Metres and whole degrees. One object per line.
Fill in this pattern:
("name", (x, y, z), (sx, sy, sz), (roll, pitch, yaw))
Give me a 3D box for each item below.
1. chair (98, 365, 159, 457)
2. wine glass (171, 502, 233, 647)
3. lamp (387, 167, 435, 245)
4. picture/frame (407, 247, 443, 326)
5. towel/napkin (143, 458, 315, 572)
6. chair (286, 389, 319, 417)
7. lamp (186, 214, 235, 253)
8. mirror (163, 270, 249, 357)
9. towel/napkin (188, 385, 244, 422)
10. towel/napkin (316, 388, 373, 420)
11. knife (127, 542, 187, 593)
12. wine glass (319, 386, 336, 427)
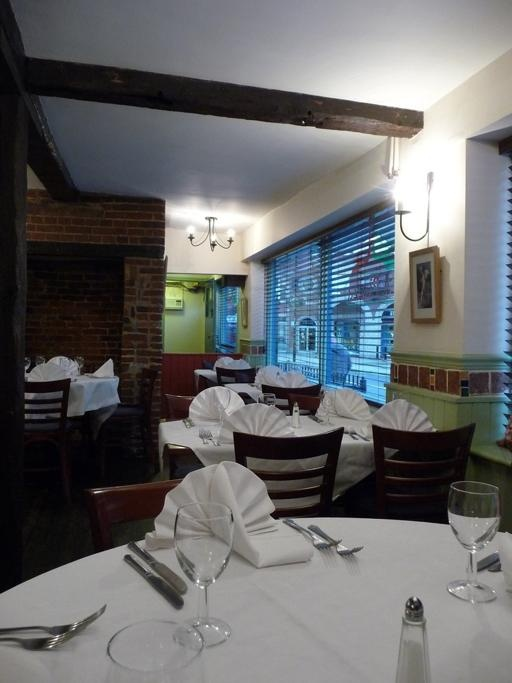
("chair", (-1.231, 0.682, 4.623), (0.557, 0.844, 0.605), (2, -2, 0))
("wine glass", (-0.077, 0.330, 0.715), (0.090, 0.223, 0.096), (0, 7, -6))
("lamp", (0.908, -0.812, 2.963), (0.200, 0.465, 0.430), (0, 1, 0))
("picture/frame", (0.979, -0.317, 2.833), (0.037, 0.432, 0.303), (0, 1, -14))
("towel/napkin", (-0.041, 0.287, 0.973), (0.200, 0.084, 0.228), (-1, 9, -27))
("chair", (0.311, 0.405, 3.263), (0.163, 0.246, 0.166), (2, 4, 5))
("lamp", (-0.630, -1.399, 6.625), (0.468, 0.347, 0.524), (0, 2, 15))
("mirror", (-1.103, -0.488, 8.918), (1.014, 1.541, 4.008), (0, 1, -13))
("towel/napkin", (-0.234, 0.342, 2.592), (0.195, 0.074, 0.213), (-12, 34, 5))
("towel/napkin", (0.526, 0.409, 2.829), (0.190, 0.230, 0.071), (2, -10, 37))
("knife", (-0.184, 0.379, 0.887), (0.040, 0.023, 0.307), (3, 1, -26))
("wine glass", (0.446, 0.404, 2.836), (0.137, 0.182, 0.132), (2, -11, -5))
